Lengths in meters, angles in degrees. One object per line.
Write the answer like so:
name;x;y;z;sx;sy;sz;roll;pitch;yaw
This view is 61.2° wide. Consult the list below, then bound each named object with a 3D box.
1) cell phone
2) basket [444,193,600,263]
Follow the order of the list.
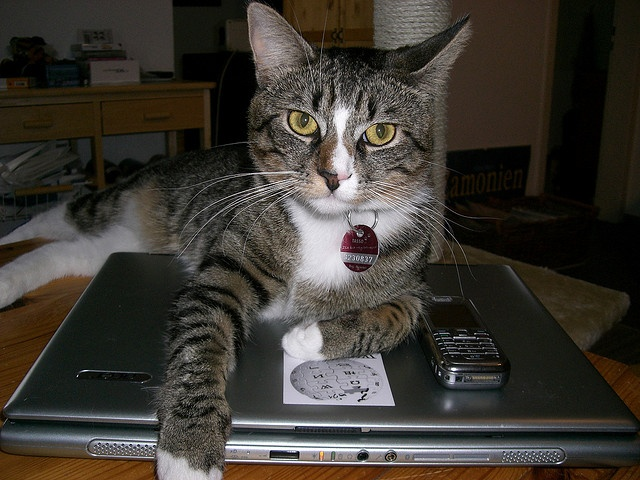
cell phone;0.244;0.182;0.971;0.118;0.063;0.264;1;17;-1
basket;0.905;-0.047;2.338;0.440;0.217;0.586;-3;6;-14
